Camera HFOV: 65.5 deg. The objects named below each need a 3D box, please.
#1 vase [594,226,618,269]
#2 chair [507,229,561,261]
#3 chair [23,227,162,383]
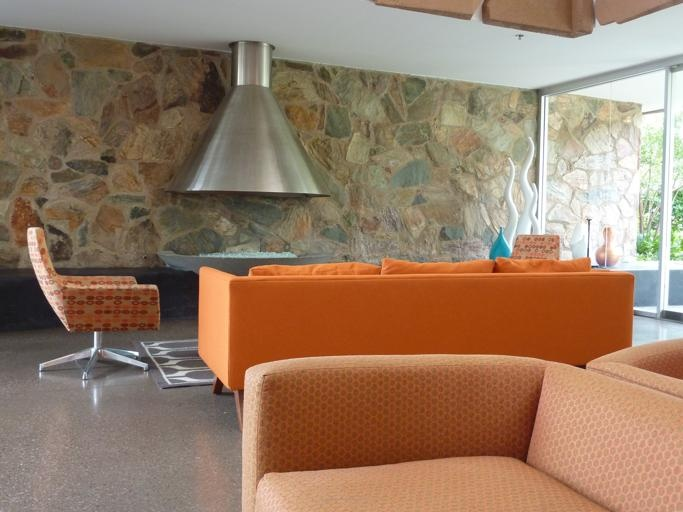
[{"bbox_3d":[3.075,-0.106,6.197,0.144,0.469,0.301,1,6,-1],"label":"vase"},{"bbox_3d":[1.860,-0.088,5.156,0.442,0.235,0.256,3,6,24],"label":"chair"},{"bbox_3d":[-1.649,0.284,3.544,0.739,0.885,0.694,2,4,-32],"label":"chair"}]
